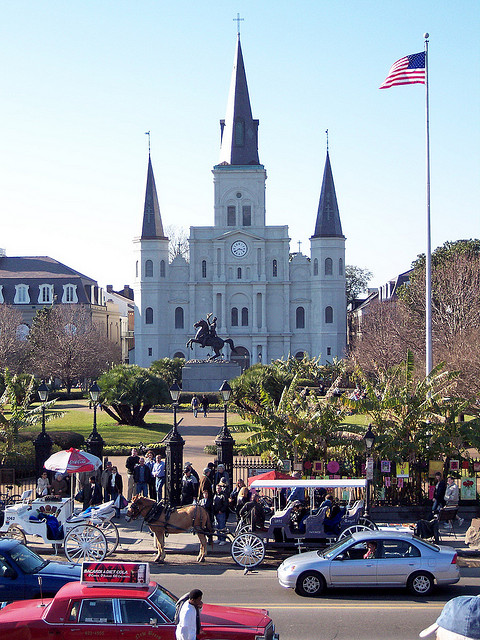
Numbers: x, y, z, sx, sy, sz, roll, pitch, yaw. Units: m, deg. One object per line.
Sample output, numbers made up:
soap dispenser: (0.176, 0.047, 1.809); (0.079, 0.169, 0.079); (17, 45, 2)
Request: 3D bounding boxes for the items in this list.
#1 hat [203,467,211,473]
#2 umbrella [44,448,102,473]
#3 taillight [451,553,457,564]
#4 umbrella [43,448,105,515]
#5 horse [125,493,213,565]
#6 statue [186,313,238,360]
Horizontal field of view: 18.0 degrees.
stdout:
hat: (-0.843, 3.646, 36.454); (0.100, 0.101, 0.200); (6, 0, 15)
umbrella: (-3.903, 3.281, 35.078); (1.257, 0.555, 0.917); (2, -5, -10)
taillight: (4.265, 4.794, 30.250); (0.147, 0.185, 0.044); (4, -5, -40)
umbrella: (-3.965, 3.842, 35.965); (1.246, 1.521, 2.786); (1, -5, -3)
horse: (-1.555, 4.621, 33.229); (1.854, 1.501, 1.320); (1, -4, -4)
statue: (-1.466, 0.704, 77.682); (2.230, 1.007, 3.013); (6, -50, 5)
